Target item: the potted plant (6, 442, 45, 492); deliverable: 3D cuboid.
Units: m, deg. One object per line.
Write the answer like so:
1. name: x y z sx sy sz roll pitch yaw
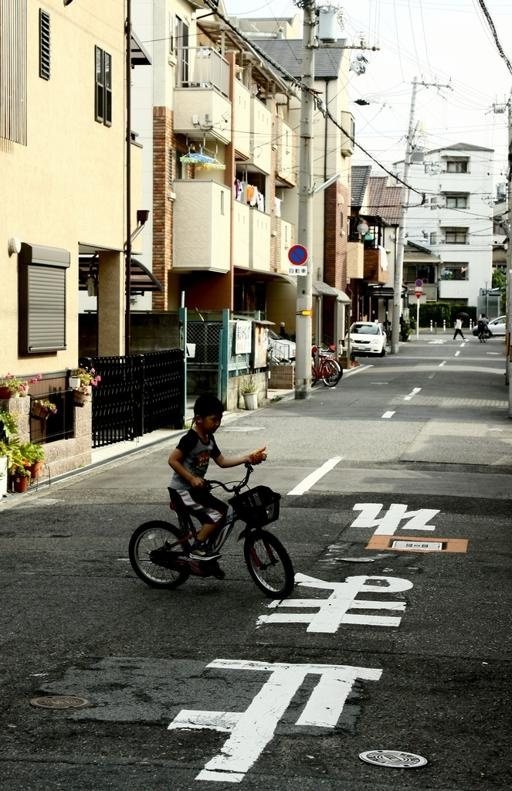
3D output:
1. potted plant: -2.592 0.803 11.574 0.428 0.501 0.473 1 -6 -3

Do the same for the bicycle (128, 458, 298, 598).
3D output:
1. bicycle: -0.193 0.904 7.111 1.125 0.819 0.718 1 12 26

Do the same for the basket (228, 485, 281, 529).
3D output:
1. basket: 0.005 0.701 6.579 0.288 0.224 0.241 -15 -2 28

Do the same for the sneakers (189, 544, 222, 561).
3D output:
1. sneakers: -0.341 1.038 6.848 0.216 0.172 0.083 -2 5 19

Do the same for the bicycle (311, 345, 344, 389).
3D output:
1. bicycle: 2.011 -0.767 30.889 1.286 0.887 0.838 1 4 32

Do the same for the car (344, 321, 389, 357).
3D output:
1. car: 5.299 -2.598 48.262 1.288 1.252 2.657 3 15 10

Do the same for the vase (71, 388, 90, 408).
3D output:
1. vase: -2.296 0.019 13.738 0.108 0.237 0.332 0 3 25

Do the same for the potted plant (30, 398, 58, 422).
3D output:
1. potted plant: -2.494 0.169 12.157 0.239 0.206 0.265 -10 30 -34
